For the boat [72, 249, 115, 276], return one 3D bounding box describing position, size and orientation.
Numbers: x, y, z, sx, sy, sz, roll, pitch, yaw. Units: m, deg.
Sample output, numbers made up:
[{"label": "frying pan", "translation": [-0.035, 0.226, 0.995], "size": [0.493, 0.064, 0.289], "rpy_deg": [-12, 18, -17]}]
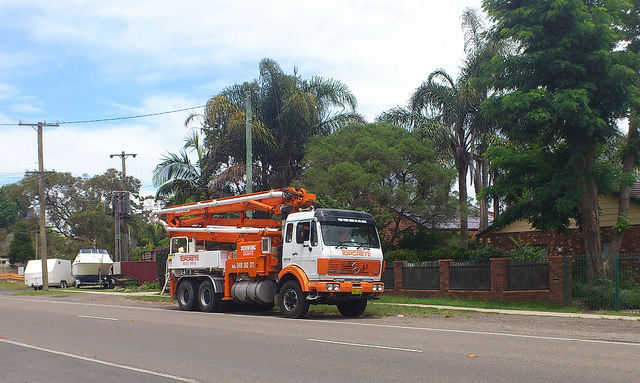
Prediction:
[{"label": "boat", "translation": [-18.020, 5.667, 56.984], "size": [3.657, 2.210, 1.721], "rpy_deg": [-4, -9, 28]}]
